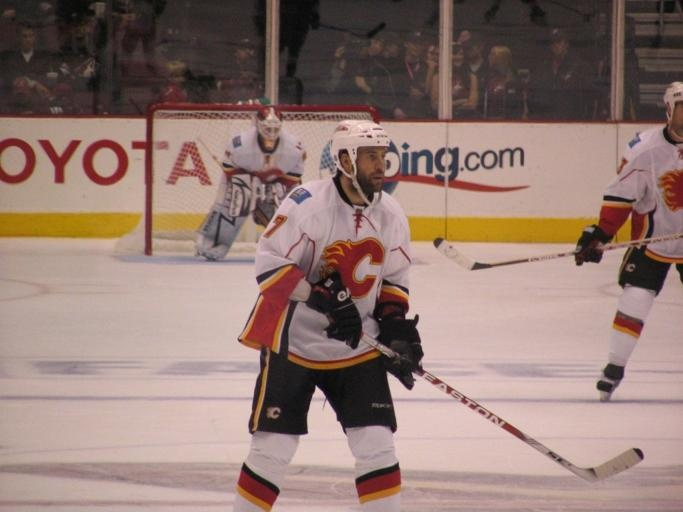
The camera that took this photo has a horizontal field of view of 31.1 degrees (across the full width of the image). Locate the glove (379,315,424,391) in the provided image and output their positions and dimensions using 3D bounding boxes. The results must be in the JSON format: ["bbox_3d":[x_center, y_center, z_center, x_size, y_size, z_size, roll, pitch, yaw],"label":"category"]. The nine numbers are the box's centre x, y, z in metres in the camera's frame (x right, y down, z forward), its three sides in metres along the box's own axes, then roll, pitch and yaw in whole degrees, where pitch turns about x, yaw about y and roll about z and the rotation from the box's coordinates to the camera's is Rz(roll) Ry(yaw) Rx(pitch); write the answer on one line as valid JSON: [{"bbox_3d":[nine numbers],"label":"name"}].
[{"bbox_3d":[0.308,0.540,6.788,0.312,0.367,0.121,-12,-13,-24],"label":"glove"}]

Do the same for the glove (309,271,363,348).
[{"bbox_3d":[-0.044,0.300,6.676,0.268,0.407,0.127,-24,-4,-17],"label":"glove"}]

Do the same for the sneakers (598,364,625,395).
[{"bbox_3d":[1.745,0.795,7.839,0.131,0.080,0.223,27,59,12],"label":"sneakers"}]

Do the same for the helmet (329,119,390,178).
[{"bbox_3d":[0.094,-0.609,6.699,0.360,0.324,0.270,-4,5,13],"label":"helmet"}]

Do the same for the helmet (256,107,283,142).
[{"bbox_3d":[-0.610,-1.109,10.232,0.224,0.272,0.281,-2,9,-11],"label":"helmet"}]

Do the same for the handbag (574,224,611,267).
[{"bbox_3d":[1.719,-0.078,8.317,0.104,0.259,0.256,39,15,-24],"label":"handbag"}]
